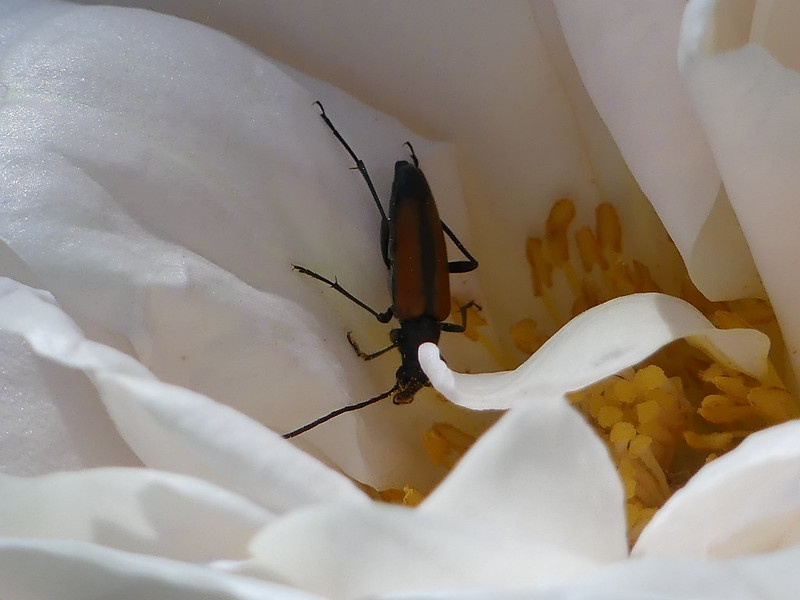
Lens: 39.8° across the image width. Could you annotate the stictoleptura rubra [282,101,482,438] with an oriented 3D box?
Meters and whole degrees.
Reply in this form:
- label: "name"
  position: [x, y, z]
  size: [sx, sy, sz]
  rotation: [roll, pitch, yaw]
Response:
- label: "stictoleptura rubra"
  position: [-0.016, -0.042, 1.304]
  size: [0.080, 0.296, 0.214]
  rotation: [11, 8, 26]
